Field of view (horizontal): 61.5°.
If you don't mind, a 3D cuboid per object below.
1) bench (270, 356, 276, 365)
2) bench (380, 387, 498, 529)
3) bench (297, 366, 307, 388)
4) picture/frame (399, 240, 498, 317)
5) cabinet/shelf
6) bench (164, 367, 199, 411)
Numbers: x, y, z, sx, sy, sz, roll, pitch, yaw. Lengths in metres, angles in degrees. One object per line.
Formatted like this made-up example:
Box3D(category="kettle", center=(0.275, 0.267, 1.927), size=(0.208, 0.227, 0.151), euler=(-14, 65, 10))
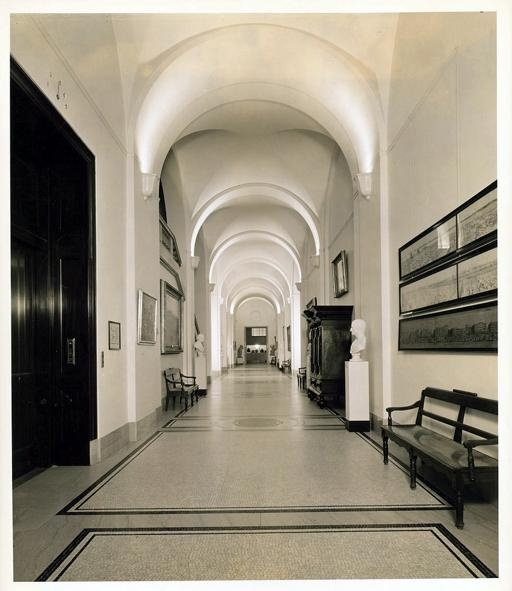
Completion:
Box3D(category="bench", center=(1.523, 6.084, 39.770), size=(0.572, 1.191, 0.632), euler=(-1, -11, 4))
Box3D(category="bench", center=(1.701, 1.533, 3.980), size=(0.257, 0.748, 1.002), euler=(2, -6, -2))
Box3D(category="bench", center=(1.640, 3.016, 15.556), size=(0.228, 0.685, 0.815), euler=(0, -1, 0))
Box3D(category="picture/frame", center=(2.007, -0.098, 4.526), size=(0.050, 0.412, 1.469), euler=(-2, -11, -20))
Box3D(category="cabinet/shelf", center=(1.649, 1.518, 10.758), size=(0.611, 2.391, 2.079), euler=(1, -6, -5))
Box3D(category="bench", center=(-1.976, 2.367, 11.085), size=(0.238, 0.505, 0.958), euler=(3, -24, 18))
